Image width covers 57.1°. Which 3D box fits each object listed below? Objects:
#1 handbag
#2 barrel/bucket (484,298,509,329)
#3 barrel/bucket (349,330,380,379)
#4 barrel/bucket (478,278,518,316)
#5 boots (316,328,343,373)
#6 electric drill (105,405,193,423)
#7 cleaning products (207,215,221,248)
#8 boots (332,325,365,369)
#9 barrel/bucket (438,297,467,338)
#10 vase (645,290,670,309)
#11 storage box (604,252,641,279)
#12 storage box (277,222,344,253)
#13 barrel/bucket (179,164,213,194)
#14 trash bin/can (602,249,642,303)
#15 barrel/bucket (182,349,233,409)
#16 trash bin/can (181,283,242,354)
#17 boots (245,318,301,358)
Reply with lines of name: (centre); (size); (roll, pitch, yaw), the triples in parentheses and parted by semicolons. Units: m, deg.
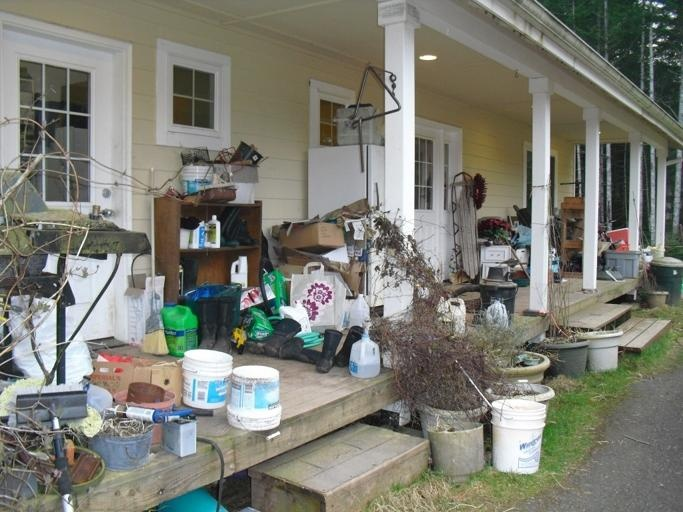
handbag: (-0.228, 0.454, 6.168); (0.520, 0.561, 0.112); (-3, 2, -17)
barrel/bucket: (1.450, 0.548, 5.908); (0.237, 0.350, 0.213); (2, 0, 2)
barrel/bucket: (0.182, 0.771, 4.842); (0.230, 0.373, 0.233); (8, -6, 1)
barrel/bucket: (1.587, 0.398, 6.369); (0.349, 0.341, 0.364); (2, 3, 0)
boots: (-0.109, 0.736, 4.942); (0.154, 0.287, 0.403); (15, 15, 4)
electric drill: (-1.098, 0.891, 3.538); (0.354, 0.105, 0.068); (3, 4, -13)
cleaning products: (-1.284, -0.239, 6.174); (0.165, 0.310, 0.124); (-1, 2, 22)
boots: (0.017, 0.791, 5.182); (0.204, 0.481, 0.512); (7, -6, -12)
barrel/bucket: (0.911, 0.482, 5.215); (0.212, 0.328, 0.730); (-2, 2, 10)
vase: (5.303, 0.722, 10.629); (0.300, 0.229, 0.303); (3, 5, 3)
storage box: (4.684, 0.148, 10.523); (0.579, 0.423, 0.454); (0, 0, 23)
storage box: (-0.330, -0.207, 6.818); (0.714, 0.318, 0.387); (-2, 2, -2)
barrel/bucket: (-1.406, -0.733, 6.112); (0.294, 0.280, 0.302); (1, 4, 0)
trash bin/can: (4.877, 0.203, 10.838); (0.520, 0.735, 0.738); (1, 8, 29)
barrel/bucket: (-0.889, 0.750, 4.062); (0.392, 0.354, 0.335); (2, 4, -18)
trash bin/can: (-1.075, 0.531, 5.534); (0.514, 0.597, 0.528); (7, 5, 34)
boots: (-0.527, 0.706, 5.299); (0.462, 0.292, 0.480); (-5, 10, -36)
